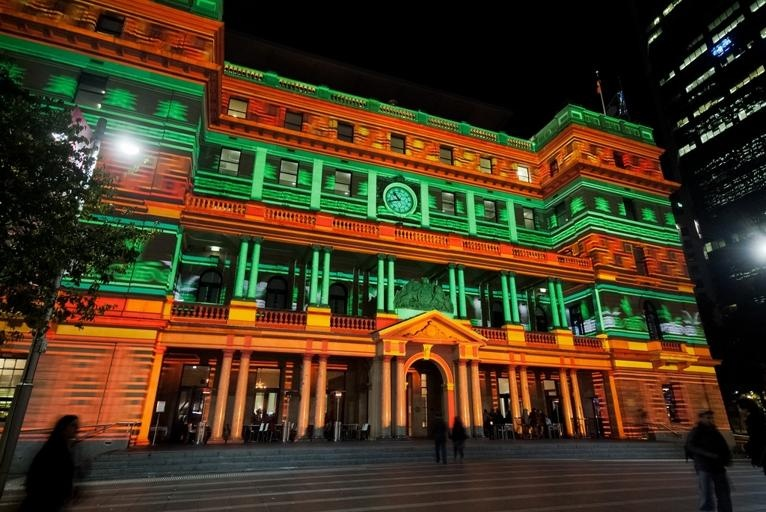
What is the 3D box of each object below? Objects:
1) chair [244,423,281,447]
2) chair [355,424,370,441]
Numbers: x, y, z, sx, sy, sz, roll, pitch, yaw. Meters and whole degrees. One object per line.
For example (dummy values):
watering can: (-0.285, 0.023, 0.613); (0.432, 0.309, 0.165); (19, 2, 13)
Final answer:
chair: (-6.741, 9.910, 26.645); (1.924, 0.886, 1.414); (6, -23, -13)
chair: (-1.116, 10.177, 27.596); (0.668, 0.923, 1.393); (2, -23, -3)
